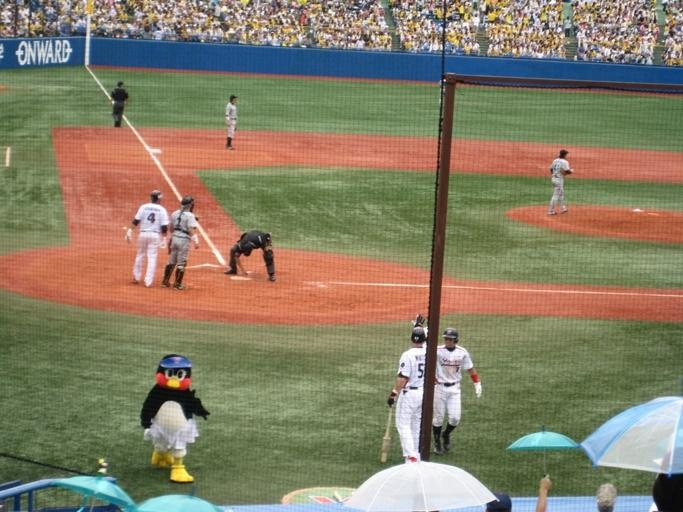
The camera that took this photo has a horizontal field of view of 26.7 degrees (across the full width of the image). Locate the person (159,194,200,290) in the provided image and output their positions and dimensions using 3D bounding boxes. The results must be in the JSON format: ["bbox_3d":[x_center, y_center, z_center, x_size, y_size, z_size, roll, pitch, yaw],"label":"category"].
[{"bbox_3d":[-4.213,-0.318,37.547,0.713,2.012,1.224,3,1,-16],"label":"person"}]

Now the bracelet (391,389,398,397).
[{"bbox_3d":[1.170,3.051,31.941,0.167,0.139,0.128,3,0,8],"label":"bracelet"}]

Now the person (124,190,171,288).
[{"bbox_3d":[-5.035,-0.475,38.003,1.281,2.506,1.149,1,16,-34],"label":"person"}]

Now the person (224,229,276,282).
[{"bbox_3d":[-2.416,0.000,38.488,1.347,1.146,0.859,3,1,-4],"label":"person"}]

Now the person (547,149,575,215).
[{"bbox_3d":[6.849,-2.280,44.222,0.860,2.091,0.977,-6,21,-16],"label":"person"}]
